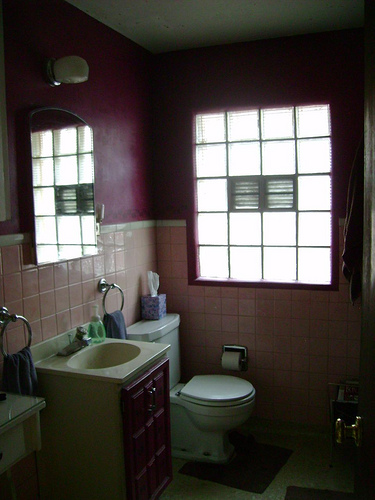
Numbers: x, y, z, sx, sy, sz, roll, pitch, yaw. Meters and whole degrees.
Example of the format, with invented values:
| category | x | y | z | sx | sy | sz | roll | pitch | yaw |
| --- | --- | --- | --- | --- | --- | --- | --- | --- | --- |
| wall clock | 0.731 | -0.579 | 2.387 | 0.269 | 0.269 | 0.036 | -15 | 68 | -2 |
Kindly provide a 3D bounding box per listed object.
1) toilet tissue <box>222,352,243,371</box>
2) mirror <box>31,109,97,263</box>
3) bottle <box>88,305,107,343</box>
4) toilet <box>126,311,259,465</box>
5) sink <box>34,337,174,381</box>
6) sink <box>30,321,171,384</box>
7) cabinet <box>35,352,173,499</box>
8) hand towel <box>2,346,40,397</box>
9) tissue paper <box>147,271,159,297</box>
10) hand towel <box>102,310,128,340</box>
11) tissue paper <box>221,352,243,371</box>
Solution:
| category | x | y | z | sx | sy | sz | roll | pitch | yaw |
| --- | --- | --- | --- | --- | --- | --- | --- | --- | --- |
| toilet tissue | 0.288 | 0.691 | 2.838 | 0.134 | 0.122 | 0.105 | -2 | -7 | 14 |
| mirror | -0.586 | -0.293 | 2.063 | 0.039 | 0.788 | 0.640 | 1 | 5 | 20 |
| bottle | -0.438 | 0.359 | 2.201 | 0.066 | 0.196 | 0.144 | -1 | 5 | 22 |
| toilet | 0.047 | 0.801 | 2.675 | 0.765 | 0.723 | 0.586 | 0 | 5 | 26 |
| sink | -0.373 | 0.508 | 2.004 | 0.450 | 0.138 | 0.499 | 0 | 6 | 22 |
| sink | -0.369 | 0.433 | 1.985 | 0.434 | 0.219 | 0.471 | 6 | 8 | 19 |
| cabinet | -0.354 | 0.668 | 1.946 | 0.386 | 0.637 | 0.518 | 4 | 2 | 8 |
| hand towel | -0.640 | 0.504 | 1.752 | 0.086 | 0.236 | 0.205 | -1 | 5 | 12 |
| tissue paper | -0.220 | 0.218 | 2.849 | 0.062 | 0.153 | 0.083 | -3 | 4 | -7 |
| hand towel | -0.392 | 0.400 | 2.355 | 0.072 | 0.165 | 0.174 | -7 | -1 | 18 |
| tissue paper | 0.278 | 0.694 | 2.795 | 0.131 | 0.119 | 0.105 | -1 | -3 | 15 |
